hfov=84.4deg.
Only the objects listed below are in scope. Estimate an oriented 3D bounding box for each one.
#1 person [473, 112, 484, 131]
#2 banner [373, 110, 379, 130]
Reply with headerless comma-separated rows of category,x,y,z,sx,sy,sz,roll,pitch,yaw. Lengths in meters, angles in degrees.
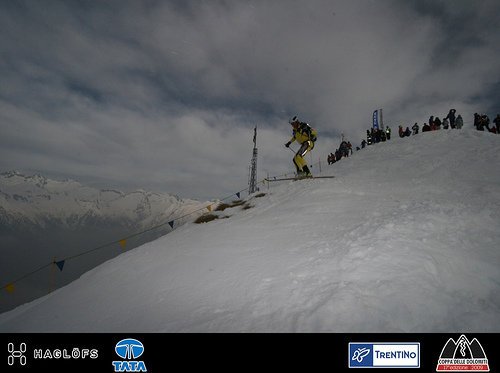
person,17.884,-4.826,20.856,0.466,1.342,0.801,-5,-7,32
banner,16.911,-8.612,35.753,0.453,2.634,1.923,-3,-6,21
